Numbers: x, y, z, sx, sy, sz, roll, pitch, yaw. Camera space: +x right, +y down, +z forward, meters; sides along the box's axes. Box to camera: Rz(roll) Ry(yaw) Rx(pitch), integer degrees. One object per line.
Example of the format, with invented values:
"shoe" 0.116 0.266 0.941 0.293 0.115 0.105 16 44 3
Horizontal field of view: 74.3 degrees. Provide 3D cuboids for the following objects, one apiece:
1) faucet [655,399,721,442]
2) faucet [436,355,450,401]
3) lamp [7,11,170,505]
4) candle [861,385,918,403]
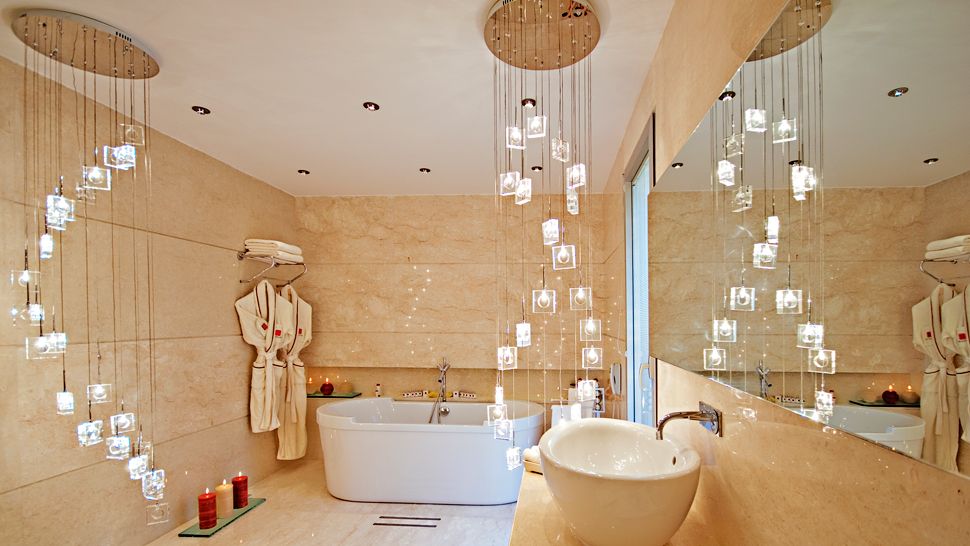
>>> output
"faucet" 1.091 0.814 3.466 0.336 0.129 0.300 -7 0 -5
"faucet" -0.432 1.111 6.556 0.139 0.333 0.133 -3 -5 -20
"lamp" -2.754 0.007 4.377 0.865 3.135 1.401 -2 -6 -28
"candle" 1.660 0.495 2.606 0.204 0.088 0.023 -7 -6 26
